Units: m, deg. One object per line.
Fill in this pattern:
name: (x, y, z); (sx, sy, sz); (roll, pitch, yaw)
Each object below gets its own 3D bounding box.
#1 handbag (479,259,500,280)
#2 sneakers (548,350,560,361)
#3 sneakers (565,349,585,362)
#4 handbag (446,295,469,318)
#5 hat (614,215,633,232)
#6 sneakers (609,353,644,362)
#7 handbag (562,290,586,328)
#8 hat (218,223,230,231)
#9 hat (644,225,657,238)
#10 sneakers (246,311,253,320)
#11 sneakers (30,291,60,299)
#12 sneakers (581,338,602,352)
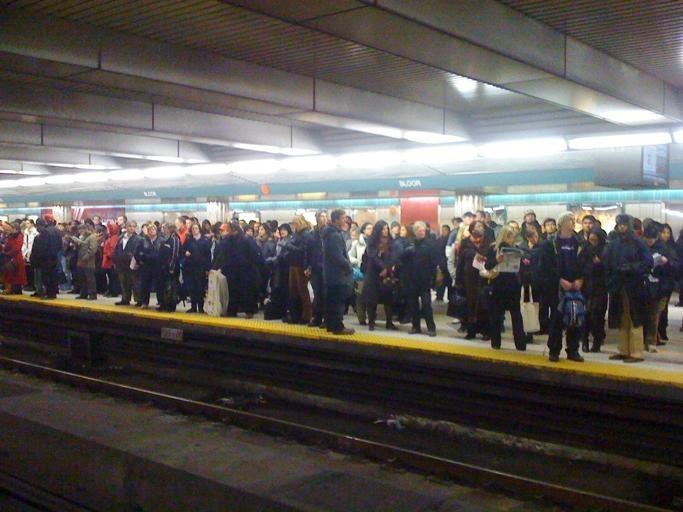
handbag: (2.132, 0.214, 8.029); (0.152, 0.281, 0.370); (-1, 2, -41)
sneakers: (2.929, 1.369, 7.540); (0.142, 0.131, 0.231); (1, 2, 20)
sneakers: (3.232, 1.391, 7.581); (0.108, 0.105, 0.255); (0, -8, -21)
handbag: (2.050, 0.921, 9.885); (0.339, 0.489, 0.482); (4, -4, -36)
hat: (4.107, -0.468, 7.941); (0.210, 0.273, 0.294); (1, 2, 24)
sneakers: (4.033, 1.429, 7.731); (0.432, 0.098, 0.265); (1, 2, 26)
handbag: (3.149, 0.728, 7.427); (0.279, 0.518, 0.220); (1, 2, 22)
hat: (-2.361, -0.569, 11.066); (0.144, 0.177, 0.172); (5, -5, 26)
hat: (4.859, -0.368, 8.570); (0.197, 0.207, 0.207); (1, 2, 23)
sneakers: (-1.886, 1.226, 11.233); (0.102, 0.186, 0.191); (0, -1, 41)
sneakers: (-7.945, 1.044, 14.686); (0.603, 0.254, 0.193); (6, 2, 26)
sneakers: (3.879, 1.382, 8.463); (0.275, 0.179, 0.307); (1, 2, 20)
